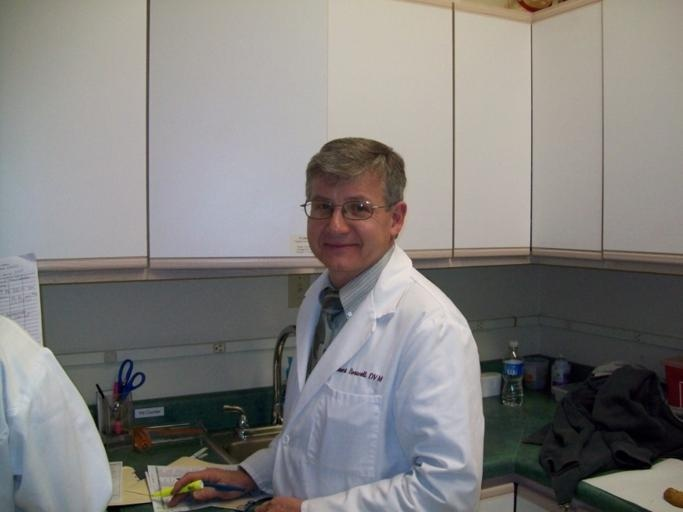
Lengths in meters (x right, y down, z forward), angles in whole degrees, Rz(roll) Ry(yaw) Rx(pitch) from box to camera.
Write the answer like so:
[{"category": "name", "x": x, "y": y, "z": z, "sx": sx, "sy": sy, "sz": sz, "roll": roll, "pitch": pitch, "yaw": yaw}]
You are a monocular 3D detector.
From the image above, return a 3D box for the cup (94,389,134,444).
[{"category": "cup", "x": -0.876, "y": 0.626, "z": 2.154, "sx": 0.120, "sy": 0.209, "sz": 0.125, "roll": 4, "pitch": 7, "yaw": -1}]

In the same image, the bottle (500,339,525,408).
[{"category": "bottle", "x": 0.835, "y": 0.539, "z": 2.704, "sx": 0.104, "sy": 0.275, "sz": 0.407, "roll": 0, "pitch": 0, "yaw": 17}]

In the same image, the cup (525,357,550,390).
[{"category": "cup", "x": 0.966, "y": 0.580, "z": 2.783, "sx": 0.117, "sy": 0.141, "sz": 0.122, "roll": 0, "pitch": 0, "yaw": 0}]

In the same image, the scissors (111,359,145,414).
[{"category": "scissors", "x": -0.841, "y": 0.502, "z": 2.181, "sx": 0.195, "sy": 0.121, "sz": 0.022, "roll": 3, "pitch": -16, "yaw": 47}]

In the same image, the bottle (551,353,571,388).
[{"category": "bottle", "x": 1.078, "y": 0.555, "z": 2.721, "sx": 0.088, "sy": 0.129, "sz": 0.217, "roll": 0, "pitch": 0, "yaw": 23}]

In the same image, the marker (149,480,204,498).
[{"category": "marker", "x": -0.519, "y": 0.733, "z": 1.748, "sx": 0.127, "sy": 0.028, "sz": 0.032, "roll": -18, "pitch": -18, "yaw": 16}]
